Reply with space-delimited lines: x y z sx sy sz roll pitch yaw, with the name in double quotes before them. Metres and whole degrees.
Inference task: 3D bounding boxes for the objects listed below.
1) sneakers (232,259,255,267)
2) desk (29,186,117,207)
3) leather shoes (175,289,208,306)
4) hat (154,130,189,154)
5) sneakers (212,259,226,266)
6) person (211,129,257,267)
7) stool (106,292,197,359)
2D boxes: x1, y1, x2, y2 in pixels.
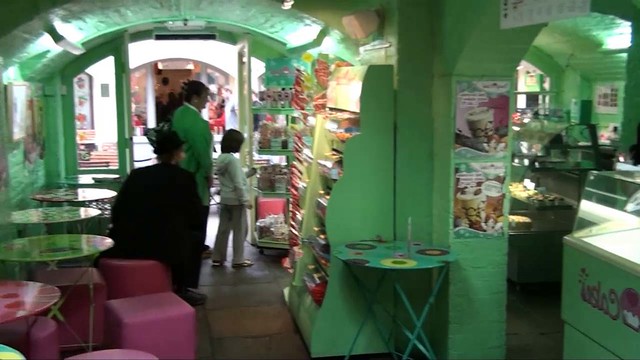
"sneakers" -1.281 1.364 7.656 0.276 0.076 0.131 -3 4 -9
"desk" -3.815 0.271 7.162 1.202 0.219 0.869 1 4 31
"leather shoes" -1.812 1.639 6.506 0.427 0.125 0.212 4 8 12
"hat" -1.850 -0.449 5.643 0.334 0.306 0.137 -2 4 -12
"sneakers" -1.683 1.363 7.663 0.214 0.070 0.083 -1 4 -30
"person" -1.426 0.311 7.487 0.565 2.218 0.604 -3 4 -25
"stool" -1.842 1.469 4.998 0.843 0.574 0.739 0 6 -23
